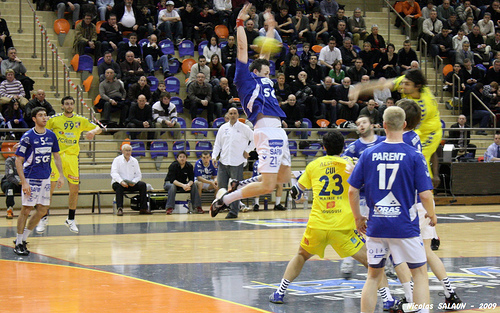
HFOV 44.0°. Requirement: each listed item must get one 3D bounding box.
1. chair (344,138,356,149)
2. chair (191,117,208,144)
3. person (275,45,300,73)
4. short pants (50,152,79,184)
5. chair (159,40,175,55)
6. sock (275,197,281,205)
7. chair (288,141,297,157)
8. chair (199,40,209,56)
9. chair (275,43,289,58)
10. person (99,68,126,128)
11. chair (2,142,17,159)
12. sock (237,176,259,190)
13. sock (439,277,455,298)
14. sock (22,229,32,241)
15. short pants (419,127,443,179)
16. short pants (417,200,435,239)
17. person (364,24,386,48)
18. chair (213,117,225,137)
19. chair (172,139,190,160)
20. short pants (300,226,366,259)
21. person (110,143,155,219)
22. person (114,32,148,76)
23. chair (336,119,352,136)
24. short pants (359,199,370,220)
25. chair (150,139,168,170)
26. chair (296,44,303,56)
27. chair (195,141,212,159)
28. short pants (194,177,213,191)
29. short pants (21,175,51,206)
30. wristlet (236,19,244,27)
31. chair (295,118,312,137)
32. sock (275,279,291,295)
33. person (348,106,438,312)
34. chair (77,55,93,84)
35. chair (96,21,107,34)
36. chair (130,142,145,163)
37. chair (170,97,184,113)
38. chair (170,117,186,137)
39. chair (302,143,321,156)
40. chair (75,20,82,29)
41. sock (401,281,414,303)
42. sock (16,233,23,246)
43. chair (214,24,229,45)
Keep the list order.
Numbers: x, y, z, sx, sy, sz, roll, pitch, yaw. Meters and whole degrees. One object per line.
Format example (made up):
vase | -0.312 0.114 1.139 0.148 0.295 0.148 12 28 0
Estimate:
chair | 2.312 -0.297 14.384 0.379 0.110 0.207 -31 21 -17
chair | -1.637 -0.936 20.050 0.583 0.761 0.647 2 9 -8
person | 1.206 -3.524 22.142 0.915 1.029 0.804 -5 4 -43
short pants | -4.206 0.255 13.936 0.752 0.925 0.464 0 -6 -26
chair | -2.912 -3.864 21.877 0.585 0.521 0.240 -4 4 -39
sock | 0.834 1.325 18.511 0.154 0.233 0.398 -1 3 1
chair | 1.368 -0.262 20.026 0.450 0.466 0.456 0 -3 5
chair | -1.675 -3.901 22.092 0.245 0.517 0.441 0 3 22
chair | 1.170 -3.956 22.735 0.476 0.478 0.491 14 40 17
person | -4.305 -1.831 19.452 0.816 1.816 0.904 -2 3 -16
chair | -6.967 -0.168 17.956 0.504 0.435 0.392 -8 -12 32
sock | -0.040 0.488 11.407 0.398 0.217 0.511 -1 3 -1
sock | 3.054 2.028 9.563 0.194 0.309 0.155 0 3 17
sock | -4.542 1.588 12.538 0.108 0.218 0.350 -1 3 7
short pants | 3.107 -0.089 10.660 0.299 0.779 0.606 1 4 34
short pants | 2.847 1.055 9.947 0.228 0.561 0.425 -1 3 4
person | 4.720 -4.560 23.716 1.069 1.051 0.797 -4 10 -14
chair | -1.059 -0.973 20.146 0.451 0.500 0.595 -2 39 -4
chair | -2.232 -0.200 19.439 0.532 0.548 0.674 -1 9 -15
short pants | 1.340 1.363 9.842 0.936 0.578 0.354 2 15 6
person | -3.345 0.664 17.457 1.166 2.032 1.456 -2 3 -3
person | -3.999 -3.595 20.967 0.966 1.184 0.859 0 13 -7
chair | 3.038 -1.056 20.339 0.475 0.602 0.520 0 -39 1
short pants | 2.006 0.907 10.837 0.137 0.297 0.452 -1 3 8
chair | -2.886 -0.119 19.323 0.658 0.854 0.812 0 10 -9
chair | 1.825 -3.937 22.599 0.293 0.328 0.373 0 -5 0
chair | -1.471 -0.210 19.602 0.540 0.562 0.430 -2 3 -6
short pants | -1.355 0.820 18.090 0.537 0.450 0.483 -2 3 -4
short pants | -4.396 0.683 12.600 0.402 0.616 0.678 9 0 35
wristlet | -0.190 -2.453 11.330 0.148 0.142 0.130 1 0 -15
chair | 1.856 -0.963 20.477 0.474 0.599 0.588 4 11 8
sock | 0.535 2.075 9.740 0.187 0.282 0.269 0 4 30
person | 2.052 0.791 8.990 1.201 3.034 0.661 -1 3 15
chair | -5.553 -2.867 20.782 0.335 1.043 0.392 2 14 -12
chair | -5.149 -4.470 21.364 0.364 0.470 0.431 -2 3 -14
chair | -3.495 -0.160 19.244 0.554 0.611 0.520 0 -5 -1
chair | -2.389 -1.695 20.321 0.525 0.504 0.437 0 0 -26
chair | -2.295 -0.981 19.957 0.525 0.635 0.560 1 3 -9
chair | 1.985 -0.213 19.868 0.605 0.409 0.470 -1 3 4
chair | -5.931 -4.567 21.306 0.223 0.388 0.597 -2 3 -15
sock | 2.394 2.055 9.392 0.149 0.347 0.376 -1 3 16
sock | -4.577 1.642 12.237 0.129 0.232 0.168 -3 3 -24
chair | -0.996 -4.573 22.933 0.568 0.726 0.412 -3 4 -28
